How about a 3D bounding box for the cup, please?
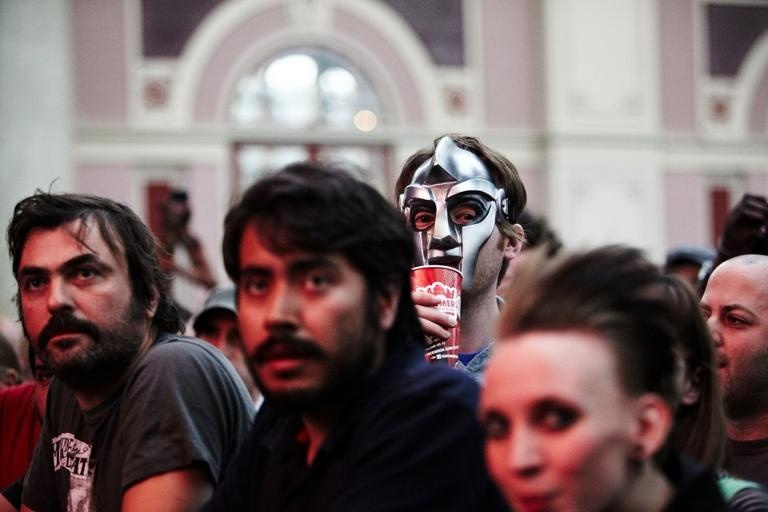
[{"bbox_3d":[0.255,0.276,4.727,0.154,0.471,0.282,-4,-3,38],"label":"cup"}]
